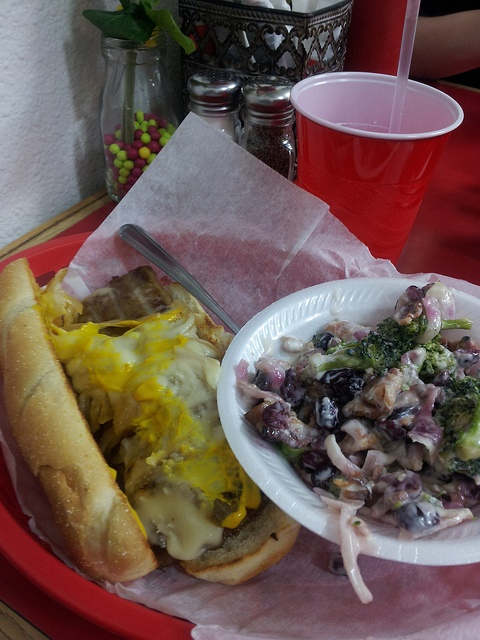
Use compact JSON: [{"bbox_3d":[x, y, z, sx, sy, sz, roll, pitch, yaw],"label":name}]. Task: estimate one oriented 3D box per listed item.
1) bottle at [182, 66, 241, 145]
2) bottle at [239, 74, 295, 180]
[{"bbox_3d":[-0.067,-0.519,1.397,0.144,0.209,0.135,1,45,-1],"label":"bottle"},{"bbox_3d":[0.080,-0.473,1.435,0.132,0.386,0.111,-14,66,-3],"label":"bottle"}]
